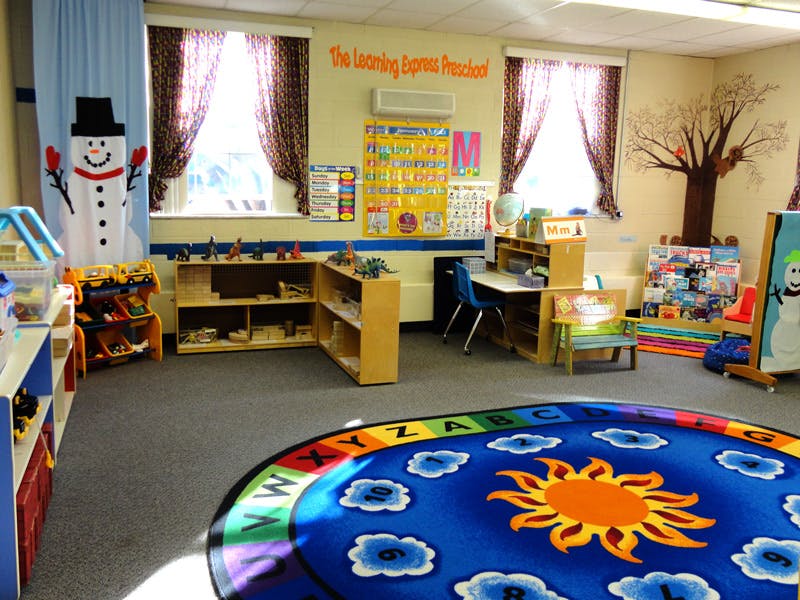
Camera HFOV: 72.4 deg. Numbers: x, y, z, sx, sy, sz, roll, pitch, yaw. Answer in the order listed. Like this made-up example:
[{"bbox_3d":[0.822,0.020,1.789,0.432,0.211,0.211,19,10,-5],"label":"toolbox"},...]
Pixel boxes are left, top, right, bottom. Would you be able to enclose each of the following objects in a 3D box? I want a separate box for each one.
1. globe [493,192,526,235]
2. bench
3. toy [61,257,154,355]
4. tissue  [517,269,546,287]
[{"bbox_3d":[1.415,-1.079,6.941,0.495,0.489,0.442,11,17,36],"label":"globe"},{"bbox_3d":[2.159,0.268,6.319,1.332,1.118,0.872,-2,5,-13],"label":"bench"},{"bbox_3d":[-2.960,0.046,5.503,0.982,1.075,0.593,-8,15,-37],"label":"toy"},{"bbox_3d":[1.521,-0.235,6.385,0.177,0.102,0.270,2,8,-12],"label":"tissue "}]
